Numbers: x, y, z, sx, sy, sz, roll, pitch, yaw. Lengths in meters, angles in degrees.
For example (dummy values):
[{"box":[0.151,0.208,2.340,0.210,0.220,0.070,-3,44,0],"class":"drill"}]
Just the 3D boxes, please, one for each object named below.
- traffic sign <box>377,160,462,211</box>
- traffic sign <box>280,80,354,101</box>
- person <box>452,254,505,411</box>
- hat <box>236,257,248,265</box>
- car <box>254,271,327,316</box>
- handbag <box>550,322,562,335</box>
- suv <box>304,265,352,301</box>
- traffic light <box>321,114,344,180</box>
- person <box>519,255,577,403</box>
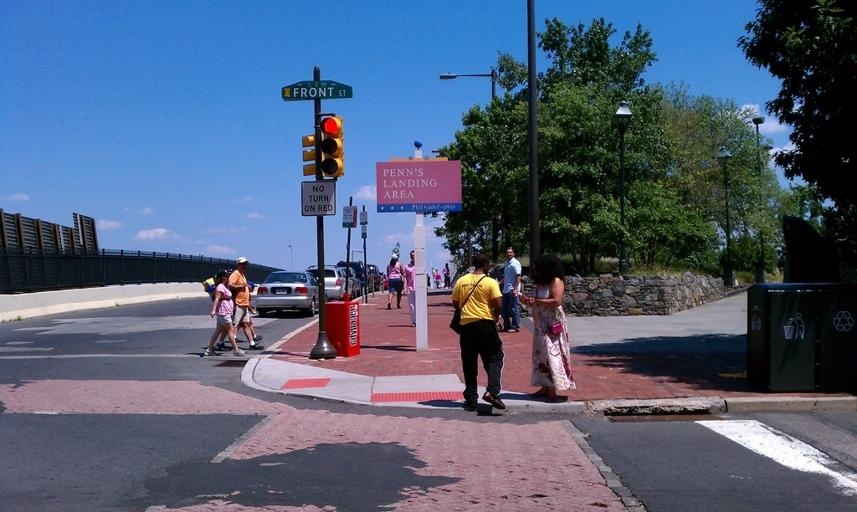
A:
[{"box":[-0.214,-1.756,18.621,2.603,1.654,0.065,-1,-1,1],"class":"traffic sign"},{"box":[-2.621,-3.880,17.411,1.478,0.514,0.786,-1,-1,28],"class":"traffic sign"},{"box":[0.862,1.358,13.201,0.895,2.731,0.943,-1,0,1],"class":"person"},{"box":[-3.991,0.111,15.762,0.163,0.114,0.210,1,-7,-32],"class":"hat"},{"box":[-5.265,1.418,27.477,2.169,1.686,1.274,-1,0,-13],"class":"car"},{"box":[2.252,1.269,13.140,0.259,0.265,0.078,-1,0,-18],"class":"handbag"},{"box":[-3.827,1.052,27.833,1.440,1.214,3.278,0,2,10],"class":"suv"},{"box":[-2.249,-2.571,17.068,0.463,1.467,0.412,-1,0,-19],"class":"traffic light"},{"box":[2.143,1.277,13.172,0.765,2.545,0.324,-1,0,7],"class":"person"}]
